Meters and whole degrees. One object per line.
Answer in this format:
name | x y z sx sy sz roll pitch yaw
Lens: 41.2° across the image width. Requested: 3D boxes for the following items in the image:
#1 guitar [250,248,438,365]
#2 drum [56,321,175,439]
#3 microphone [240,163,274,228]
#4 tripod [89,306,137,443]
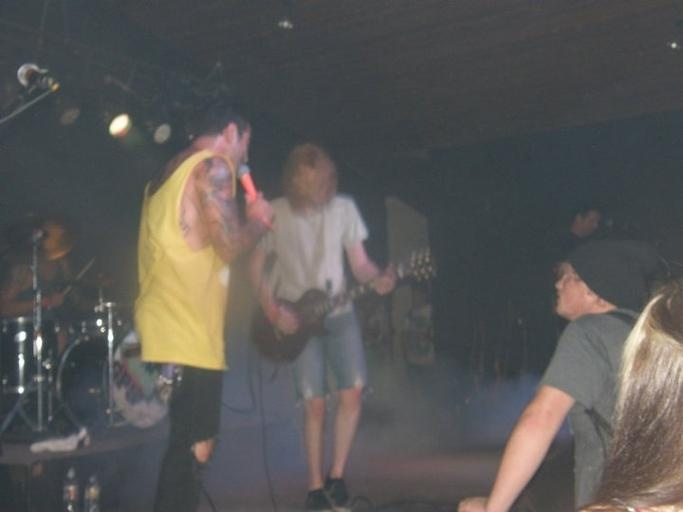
guitar | 0.002 0.222 4.206 0.999 0.414 0.147 -24 -5 8
drum | -1.088 0.569 4.230 0.557 0.436 0.173 27 12 31
microphone | -0.414 -0.312 4.205 0.060 0.202 0.057 -14 14 6
tripod | -1.073 0.503 4.196 0.079 0.585 0.219 0 -2 -40
